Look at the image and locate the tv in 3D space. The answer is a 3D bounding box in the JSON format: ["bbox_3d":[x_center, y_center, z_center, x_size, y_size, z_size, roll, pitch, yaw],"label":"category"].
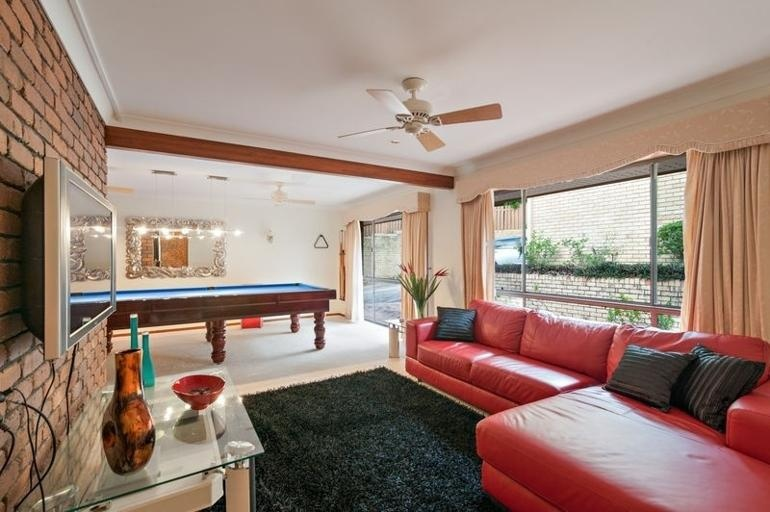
[{"bbox_3d":[-1.907,0.021,2.743,0.223,1.137,0.791,-1,0,-12],"label":"tv"}]

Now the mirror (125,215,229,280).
[{"bbox_3d":[-3.638,-0.143,7.687,1.296,0.818,0.068,0,-1,-32],"label":"mirror"}]

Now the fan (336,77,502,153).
[{"bbox_3d":[0.379,-1.215,3.775,1.025,0.555,0.999,0,-1,-1],"label":"fan"}]

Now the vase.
[{"bbox_3d":[-1.481,0.907,2.597,0.245,0.732,0.153,0,0,-32],"label":"vase"}]

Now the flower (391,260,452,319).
[{"bbox_3d":[0.494,0.453,6.503,0.802,0.774,0.818,-1,3,0],"label":"flower"}]
